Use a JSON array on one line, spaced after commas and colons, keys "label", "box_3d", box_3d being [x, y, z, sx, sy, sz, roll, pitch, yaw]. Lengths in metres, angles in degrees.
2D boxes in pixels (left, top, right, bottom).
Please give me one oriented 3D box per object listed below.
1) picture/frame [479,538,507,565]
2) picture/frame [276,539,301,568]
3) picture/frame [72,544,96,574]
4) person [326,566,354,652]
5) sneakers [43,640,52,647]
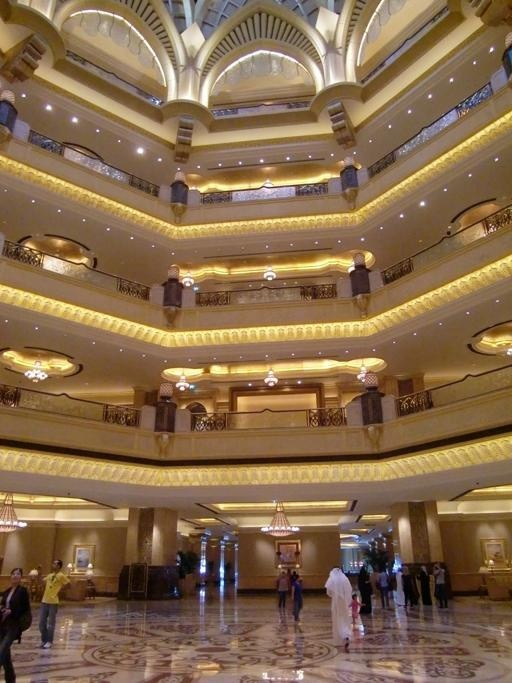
[{"label": "picture/frame", "box_3d": [7.932, 7.012, 15.586, 0.956, 1.076, 0.088, -3, -23, 17]}, {"label": "picture/frame", "box_3d": [1.280, 8.361, 18.320, 1.207, 1.203, 0.136, 0, -25, 5]}, {"label": "picture/frame", "box_3d": [-6.364, 8.077, 17.280, 1.093, 1.290, 0.136, 0, -12, 4]}, {"label": "person", "box_3d": [1.005, 3.242, 5.643, 0.288, 0.823, 0.693, -3, -19, 9]}, {"label": "sneakers", "box_3d": [-2.425, 3.518, 5.421, 0.043, 0.050, 0.122, 7, -11, -7]}]
